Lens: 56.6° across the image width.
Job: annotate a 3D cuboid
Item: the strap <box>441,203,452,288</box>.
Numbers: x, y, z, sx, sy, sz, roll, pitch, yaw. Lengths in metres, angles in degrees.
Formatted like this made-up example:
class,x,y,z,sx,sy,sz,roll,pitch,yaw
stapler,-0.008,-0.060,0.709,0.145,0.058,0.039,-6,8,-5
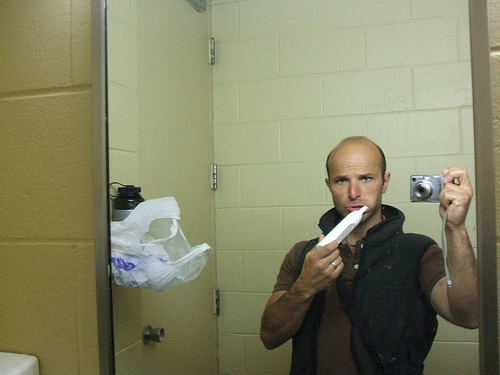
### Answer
class,x,y,z,sx,sy,sz,roll,pitch,yaw
strap,0.430,0.146,1.024,0.014,0.139,0.083,1,2,26

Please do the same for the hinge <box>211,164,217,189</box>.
class,x,y,z,sx,sy,sz,roll,pitch,yaw
hinge,-0.092,-0.029,1.174,0.014,0.063,0.005,0,-1,-1

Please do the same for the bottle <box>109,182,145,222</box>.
class,x,y,z,sx,sy,sz,roll,pitch,yaw
bottle,-0.328,0.040,1.288,0.084,0.158,0.089,2,1,0

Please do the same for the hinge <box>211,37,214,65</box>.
class,x,y,z,sx,sy,sz,roll,pitch,yaw
hinge,-0.097,-0.352,1.190,0.007,0.072,0.004,0,-1,2

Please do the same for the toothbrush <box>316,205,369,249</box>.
class,x,y,z,sx,sy,sz,roll,pitch,yaw
toothbrush,0.220,0.095,1.089,0.114,0.027,0.028,-45,-16,7

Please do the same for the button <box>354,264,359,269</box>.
class,x,y,z,sx,sy,sz,roll,pitch,yaw
button,0.250,0.186,1.096,0.011,0.010,0.001,0,-1,12

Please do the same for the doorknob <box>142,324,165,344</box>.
class,x,y,z,sx,sy,sz,roll,pitch,yaw
doorknob,-0.253,0.393,1.224,0.051,0.043,0.021,5,-1,3
